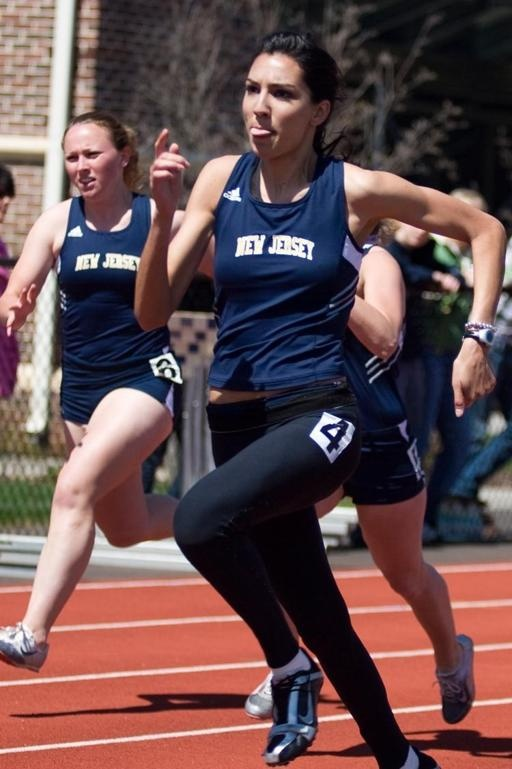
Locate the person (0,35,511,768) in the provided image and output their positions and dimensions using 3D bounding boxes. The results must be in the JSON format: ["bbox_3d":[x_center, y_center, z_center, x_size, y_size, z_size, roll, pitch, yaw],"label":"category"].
[{"bbox_3d":[0.130,0.014,1.775,0.729,1.486,0.410,3,-3,-18],"label":"person"}]

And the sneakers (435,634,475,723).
[{"bbox_3d":[0.552,0.854,2.520,0.099,0.271,0.125,-1,-4,36],"label":"sneakers"}]

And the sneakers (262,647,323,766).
[{"bbox_3d":[0.083,0.590,1.636,0.078,0.217,0.118,-6,-27,40],"label":"sneakers"}]
